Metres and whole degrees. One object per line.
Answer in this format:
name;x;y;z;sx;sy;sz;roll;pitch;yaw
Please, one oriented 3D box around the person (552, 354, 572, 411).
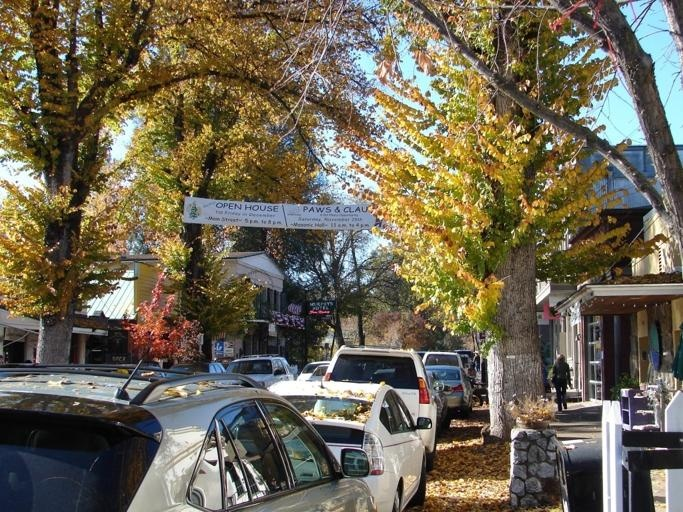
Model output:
person;7.880;4.469;23.091;0.638;1.996;0.827;0;2;0
